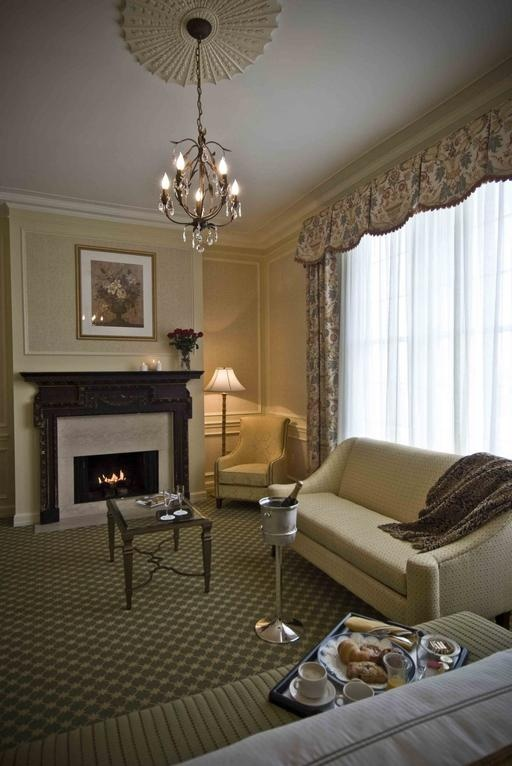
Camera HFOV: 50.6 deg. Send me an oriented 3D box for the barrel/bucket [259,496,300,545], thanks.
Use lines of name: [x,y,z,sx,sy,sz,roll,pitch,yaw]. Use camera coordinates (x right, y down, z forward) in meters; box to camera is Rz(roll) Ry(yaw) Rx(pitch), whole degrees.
barrel/bucket: [0.095,0.605,2.380,0.177,0.176,0.188,-1,4,0]

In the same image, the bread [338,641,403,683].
bread: [0.315,0.761,1.498,0.099,0.031,0.099,2,5,-27]

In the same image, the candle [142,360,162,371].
candle: [-0.988,-0.155,5.069,0.113,0.097,0.115,3,-6,-19]

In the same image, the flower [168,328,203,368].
flower: [-0.671,-0.300,5.162,0.355,0.405,0.371,-2,-1,26]

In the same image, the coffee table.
coffee table: [-0.641,1.007,3.403,0.527,0.439,0.852,-3,1,-20]

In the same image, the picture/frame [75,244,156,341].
picture/frame: [-1.319,-0.822,4.920,0.876,1.069,0.068,-1,-1,-35]

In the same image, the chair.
chair: [-0.030,0.740,5.182,0.584,0.847,0.653,0,-3,16]
